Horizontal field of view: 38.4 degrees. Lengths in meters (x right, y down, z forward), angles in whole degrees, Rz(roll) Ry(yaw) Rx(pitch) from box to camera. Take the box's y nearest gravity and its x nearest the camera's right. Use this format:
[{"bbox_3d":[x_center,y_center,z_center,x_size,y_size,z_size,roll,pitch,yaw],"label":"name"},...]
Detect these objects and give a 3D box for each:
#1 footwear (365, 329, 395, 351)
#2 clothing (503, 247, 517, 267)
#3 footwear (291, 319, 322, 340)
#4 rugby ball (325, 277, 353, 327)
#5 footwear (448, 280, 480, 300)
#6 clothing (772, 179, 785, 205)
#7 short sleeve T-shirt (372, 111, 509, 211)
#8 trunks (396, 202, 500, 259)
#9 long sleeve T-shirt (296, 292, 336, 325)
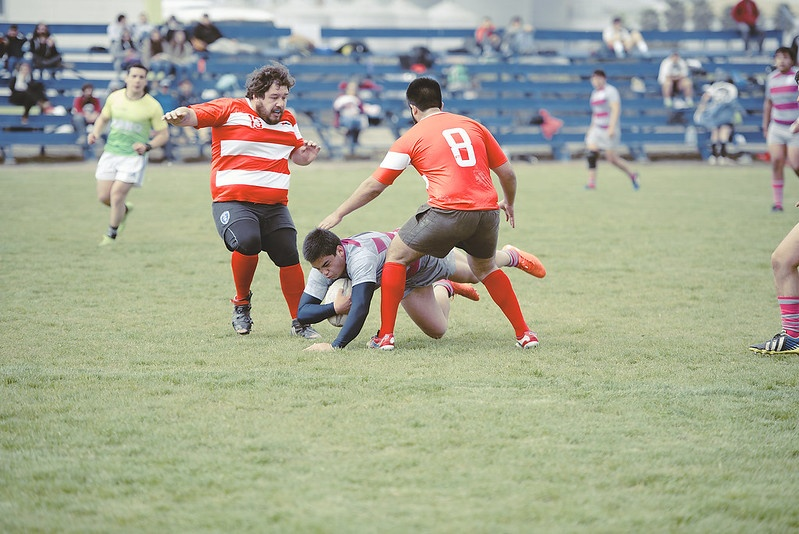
[{"bbox_3d":[-0.165,0.742,11.337,0.129,0.141,0.336,-1,2,-23],"label":"footwear"},{"bbox_3d":[1.176,-0.092,12.023,0.150,0.158,0.175,22,-21,-7],"label":"clothing"},{"bbox_3d":[-0.893,0.644,11.629,0.390,0.160,0.133,7,8,29],"label":"footwear"},{"bbox_3d":[-0.631,0.341,11.389,0.236,0.410,0.387,27,15,-22],"label":"rugby ball"},{"bbox_3d":[0.688,0.233,12.140,0.178,0.130,0.310,37,8,38],"label":"footwear"},{"bbox_3d":[5.447,-1.076,16.488,0.119,0.339,0.167,-1,9,8],"label":"clothing"},{"bbox_3d":[0.522,-1.011,11.137,1.650,0.873,0.524,-5,-21,-18],"label":"short sleeve T-shirt"},{"bbox_3d":[0.538,-0.341,11.150,0.973,0.484,0.521,0,26,-14],"label":"trunks"},{"bbox_3d":[-0.804,0.418,11.321,0.354,0.110,0.280,-1,13,12],"label":"long sleeve T-shirt"}]
